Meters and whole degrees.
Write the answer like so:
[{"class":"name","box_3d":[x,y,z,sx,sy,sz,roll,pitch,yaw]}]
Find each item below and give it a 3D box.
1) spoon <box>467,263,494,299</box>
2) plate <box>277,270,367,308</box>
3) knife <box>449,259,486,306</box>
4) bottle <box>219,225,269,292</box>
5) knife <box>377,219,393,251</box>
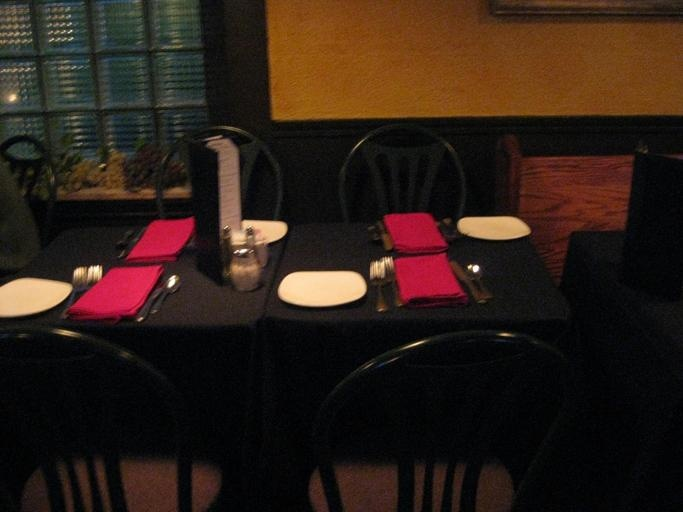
[{"class":"spoon","box_3d":[0.430,0.077,1.768,0.036,0.036,0.126,-14,33,0]},{"class":"plate","box_3d":[-0.062,0.105,1.777,0.177,0.024,0.135,-2,37,-1]},{"class":"knife","box_3d":[0.395,0.081,1.783,0.043,0.020,0.163,-3,26,-11]},{"class":"bottle","box_3d":[-0.299,0.013,1.763,0.104,0.130,0.209,-2,22,-7]},{"class":"knife","box_3d":[0.160,-0.072,2.075,0.024,0.018,0.123,-9,30,-4]}]
